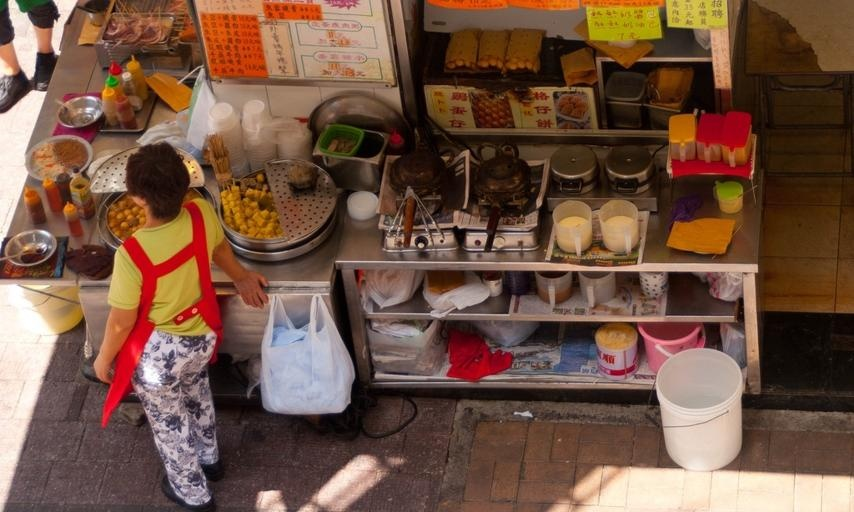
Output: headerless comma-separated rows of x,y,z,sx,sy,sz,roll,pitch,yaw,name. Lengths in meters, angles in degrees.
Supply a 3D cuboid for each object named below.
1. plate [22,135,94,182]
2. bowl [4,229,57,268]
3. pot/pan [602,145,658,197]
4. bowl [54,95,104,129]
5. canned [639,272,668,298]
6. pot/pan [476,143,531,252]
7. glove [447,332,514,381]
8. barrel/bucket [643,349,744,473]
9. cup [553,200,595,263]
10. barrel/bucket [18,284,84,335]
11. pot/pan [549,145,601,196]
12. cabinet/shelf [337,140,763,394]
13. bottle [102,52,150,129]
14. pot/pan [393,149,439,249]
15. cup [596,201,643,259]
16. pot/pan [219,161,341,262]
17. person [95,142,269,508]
-2.589,-0.680,4.480,0.413,0.050,0.365,-4,52,-2,plate
-2.517,-0.047,4.048,0.331,0.141,0.269,2,30,11,bowl
1.282,-0.515,4.033,0.270,0.317,0.202,1,2,16,pot/pan
-2.590,-1.075,4.779,0.327,0.175,0.334,-3,30,2,bowl
1.441,0.178,4.070,0.186,0.184,0.165,5,64,16,canned
0.491,-0.376,4.031,0.343,0.232,0.616,4,61,11,pot/pan
0.385,0.716,4.468,0.469,0.317,0.165,2,-4,2,glove
1.704,0.972,4.015,0.537,0.695,0.466,-23,35,-26,barrel/bucket
0.895,-0.176,3.924,0.245,0.234,0.320,1,31,11,cup
-2.815,0.400,4.792,0.460,0.460,0.145,-11,32,-10,barrel/bucket
0.936,-0.563,4.081,0.276,0.115,0.337,5,43,14,pot/pan
1.078,-0.125,4.433,3.533,1.459,1.376,0,54,6,cabinet/shelf
-2.246,-1.167,4.725,0.330,0.432,0.425,-12,31,-11,bottle
-0.058,-0.357,4.012,0.339,0.134,0.543,4,67,12,pot/pan
1.171,-0.179,3.882,0.248,0.248,0.283,3,31,14,cup
-0.868,-0.235,4.156,0.747,0.171,0.688,-24,63,-14,pot/pan
-1.464,0.504,3.780,0.395,2.319,0.973,21,40,35,person
